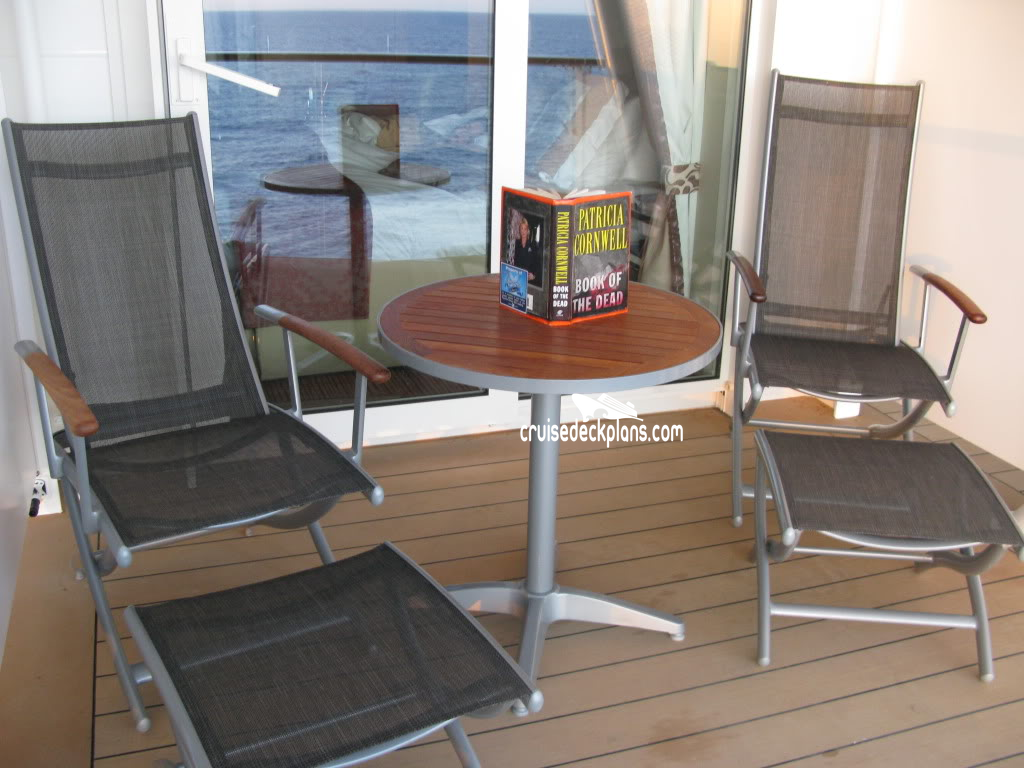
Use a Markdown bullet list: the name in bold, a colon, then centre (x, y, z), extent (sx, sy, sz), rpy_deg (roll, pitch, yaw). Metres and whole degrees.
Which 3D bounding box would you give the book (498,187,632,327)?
- **book**: centre (0.136, -0.359, 2.364), extent (0.357, 0.350, 0.357), rpy_deg (14, 27, 26)

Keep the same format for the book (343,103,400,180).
- **book**: centre (-0.506, -0.870, 3.097), extent (0.243, 0.273, 0.020), rpy_deg (-11, 19, -27)

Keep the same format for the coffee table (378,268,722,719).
- **coffee table**: centre (0.080, 0.288, 2.363), extent (0.846, 0.754, 0.840), rpy_deg (-7, 11, -35)
